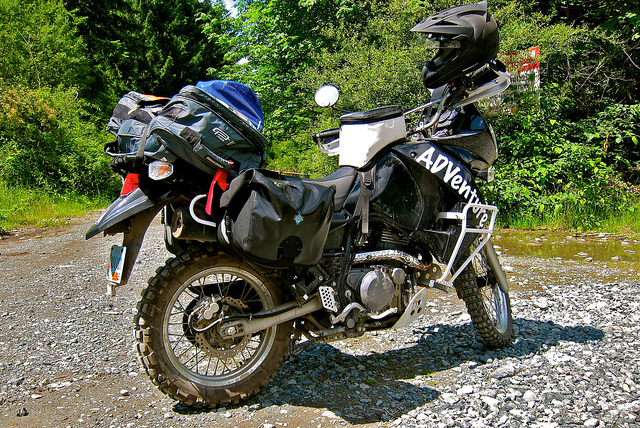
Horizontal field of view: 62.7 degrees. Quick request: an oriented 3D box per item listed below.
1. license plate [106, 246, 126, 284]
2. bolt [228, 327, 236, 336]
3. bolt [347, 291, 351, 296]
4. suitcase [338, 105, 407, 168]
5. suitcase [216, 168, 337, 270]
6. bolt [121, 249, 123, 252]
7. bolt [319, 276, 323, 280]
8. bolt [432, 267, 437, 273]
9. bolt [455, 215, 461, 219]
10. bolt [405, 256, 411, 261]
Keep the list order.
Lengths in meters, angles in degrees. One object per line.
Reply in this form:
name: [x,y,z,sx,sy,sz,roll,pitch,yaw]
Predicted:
license plate: [-2.083,0.509,5.302,0.263,0.357,0.131,4,10,39]
bolt: [-0.905,1.197,5.360,0.078,0.086,0.011,-4,8,-15]
bolt: [0.307,0.843,5.547,0.035,0.047,0.004,-3,8,-7]
suitcase: [0.567,-0.831,5.676,0.726,0.640,0.230,-1,8,10]
suitcase: [-0.364,-0.003,5.541,1.100,0.928,0.836,14,15,-42]
bolt: [-1.997,0.363,5.260,0.028,0.024,0.011,3,10,36]
bolt: [0.009,0.672,5.509,0.034,0.034,0.006,-3,8,-4]
bolt: [1.282,0.629,5.881,0.056,0.056,0.013,1,-8,-3]
bolt: [1.543,0.032,5.847,0.025,0.041,0.020,7,-7,-5]
bolt: [0.955,0.488,5.723,0.060,0.052,0.012,-5,9,-17]
